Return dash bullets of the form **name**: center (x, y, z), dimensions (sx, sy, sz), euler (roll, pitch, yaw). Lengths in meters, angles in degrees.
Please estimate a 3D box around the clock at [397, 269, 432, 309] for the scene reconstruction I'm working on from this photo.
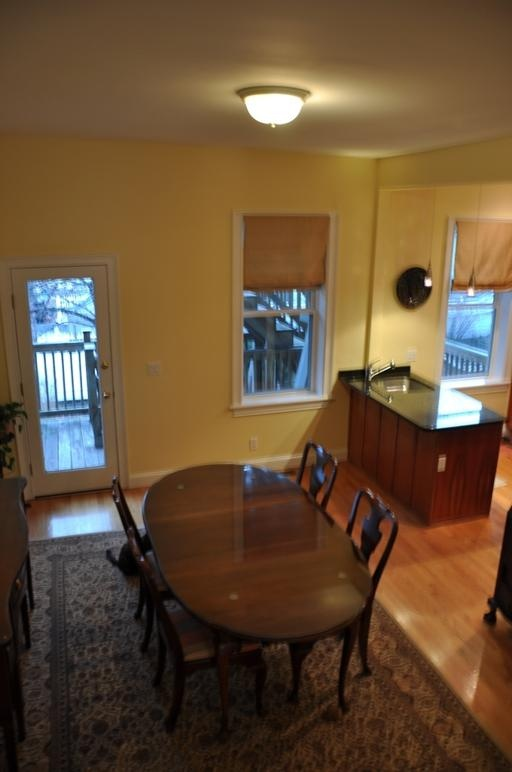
- **clock**: center (1.421, -0.870, 4.987), dimensions (0.400, 0.397, 0.099), euler (-8, 15, -33)

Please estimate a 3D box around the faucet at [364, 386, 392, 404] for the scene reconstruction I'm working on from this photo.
- **faucet**: center (1.035, 0.086, 4.662), dimensions (0.133, 0.042, 0.136), euler (11, 18, -22)

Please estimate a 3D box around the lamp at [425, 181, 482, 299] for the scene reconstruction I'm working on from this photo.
- **lamp**: center (1.783, -1.294, 4.949), dimensions (0.419, 0.985, 1.569), euler (5, 14, 21)

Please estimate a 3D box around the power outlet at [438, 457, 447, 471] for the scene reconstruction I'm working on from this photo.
- **power outlet**: center (1.354, 0.575, 4.037), dimensions (0.084, 0.133, 0.018), euler (-6, 14, -29)

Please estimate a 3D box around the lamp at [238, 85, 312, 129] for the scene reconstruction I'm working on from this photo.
- **lamp**: center (0.067, -1.095, 2.170), dimensions (0.289, 0.090, 0.264), euler (0, 13, -3)
